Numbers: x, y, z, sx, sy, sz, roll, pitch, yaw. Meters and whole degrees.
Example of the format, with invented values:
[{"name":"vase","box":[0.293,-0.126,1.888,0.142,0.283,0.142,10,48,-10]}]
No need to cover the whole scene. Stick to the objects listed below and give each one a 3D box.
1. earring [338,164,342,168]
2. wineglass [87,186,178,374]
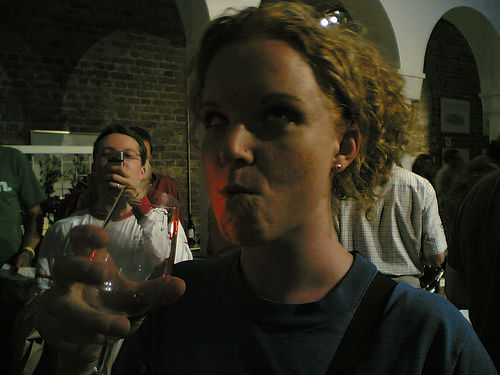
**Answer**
[{"name":"earring","box":[0.234,-0.054,1.306,0.010,0.010,0.004,1,-1,-10]},{"name":"wineglass","box":[-0.250,0.148,1.161,0.163,0.292,0.196,1,-1,17]}]
